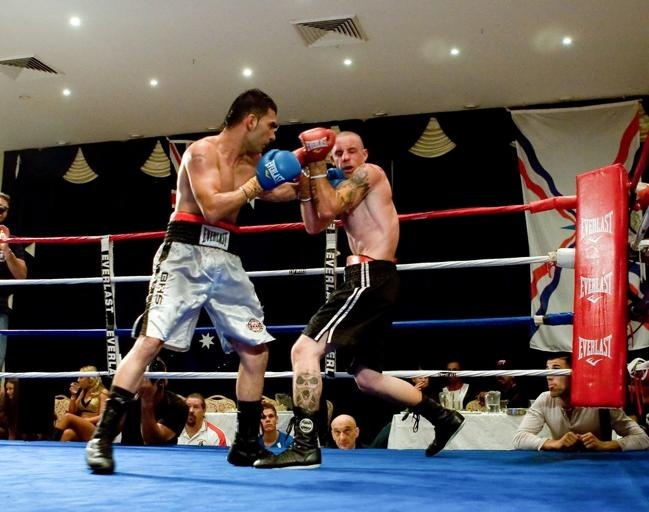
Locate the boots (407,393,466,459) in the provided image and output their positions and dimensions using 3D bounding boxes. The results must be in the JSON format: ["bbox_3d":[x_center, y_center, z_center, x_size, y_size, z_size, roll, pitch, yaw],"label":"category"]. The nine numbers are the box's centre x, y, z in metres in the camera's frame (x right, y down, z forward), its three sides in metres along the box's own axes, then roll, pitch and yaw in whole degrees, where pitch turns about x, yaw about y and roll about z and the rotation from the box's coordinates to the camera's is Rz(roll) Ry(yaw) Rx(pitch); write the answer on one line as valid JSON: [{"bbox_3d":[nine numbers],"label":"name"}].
[{"bbox_3d":[0.512,0.821,3.135,0.243,0.245,0.106,42,5,0],"label":"boots"}]

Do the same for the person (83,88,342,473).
[{"bbox_3d":[-0.553,0.043,2.926,0.839,1.785,0.556,3,-5,-9],"label":"person"}]

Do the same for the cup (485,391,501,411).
[{"bbox_3d":[1.419,1.229,5.439,0.181,0.148,0.152,1,-14,12],"label":"cup"}]

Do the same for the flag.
[{"bbox_3d":[2.655,-0.328,6.790,0.895,2.676,1.192,4,-5,-19],"label":"flag"}]

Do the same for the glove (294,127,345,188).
[{"bbox_3d":[-0.031,-0.458,3.008,0.273,0.281,0.147,4,26,20],"label":"glove"}]

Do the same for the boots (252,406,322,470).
[{"bbox_3d":[-0.133,0.788,2.762,0.364,0.256,0.147,-16,-26,33],"label":"boots"}]

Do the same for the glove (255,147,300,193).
[{"bbox_3d":[-0.207,-0.389,2.926,0.210,0.190,0.183,2,-4,-6],"label":"glove"}]

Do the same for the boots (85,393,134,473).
[{"bbox_3d":[-0.888,0.708,2.677,0.158,0.330,0.285,3,-4,-4],"label":"boots"}]
